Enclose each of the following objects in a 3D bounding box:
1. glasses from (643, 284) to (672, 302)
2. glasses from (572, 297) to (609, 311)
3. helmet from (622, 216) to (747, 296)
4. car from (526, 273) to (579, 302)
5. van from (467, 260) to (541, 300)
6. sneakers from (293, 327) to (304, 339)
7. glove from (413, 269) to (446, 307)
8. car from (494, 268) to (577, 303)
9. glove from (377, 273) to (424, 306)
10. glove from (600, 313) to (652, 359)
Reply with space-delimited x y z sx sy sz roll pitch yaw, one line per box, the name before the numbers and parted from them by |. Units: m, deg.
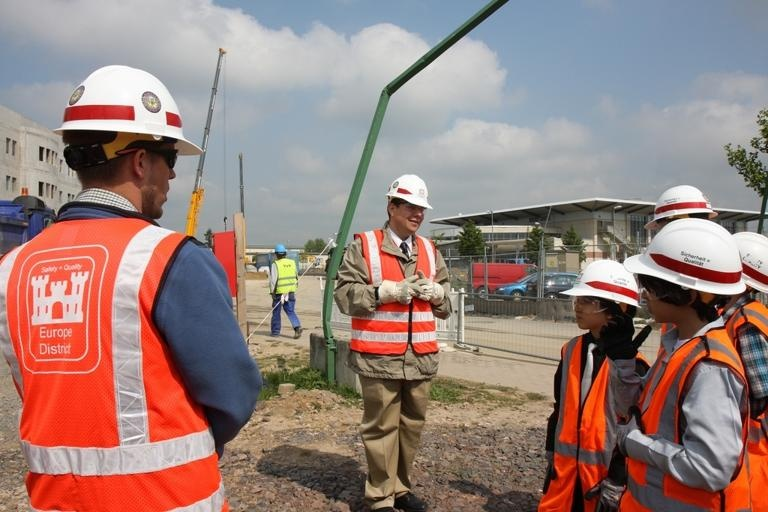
glasses | 1.536 0.205 3.365 0.092 0.068 0.131 5 -2 37
glasses | 1.491 0.342 4.295 0.131 0.065 0.103 6 -5 4
helmet | 1.671 0.007 3.359 0.535 0.308 0.428 20 4 31
car | 4.852 0.914 17.367 2.232 0.827 1.033 2 -3 -5
van | 4.378 0.898 22.453 2.340 1.186 1.373 -2 1 3
sneakers | -1.825 1.674 12.952 0.124 0.168 0.367 2 -28 -14
glove | 0.343 0.264 4.963 0.130 0.210 0.282 -14 32 -36
car | 4.832 0.927 19.075 2.188 0.754 1.050 1 -4 6
glove | 0.121 0.274 4.889 0.340 0.208 0.136 0 -3 3
glove | 1.616 0.489 4.061 0.258 0.156 0.343 10 48 8
